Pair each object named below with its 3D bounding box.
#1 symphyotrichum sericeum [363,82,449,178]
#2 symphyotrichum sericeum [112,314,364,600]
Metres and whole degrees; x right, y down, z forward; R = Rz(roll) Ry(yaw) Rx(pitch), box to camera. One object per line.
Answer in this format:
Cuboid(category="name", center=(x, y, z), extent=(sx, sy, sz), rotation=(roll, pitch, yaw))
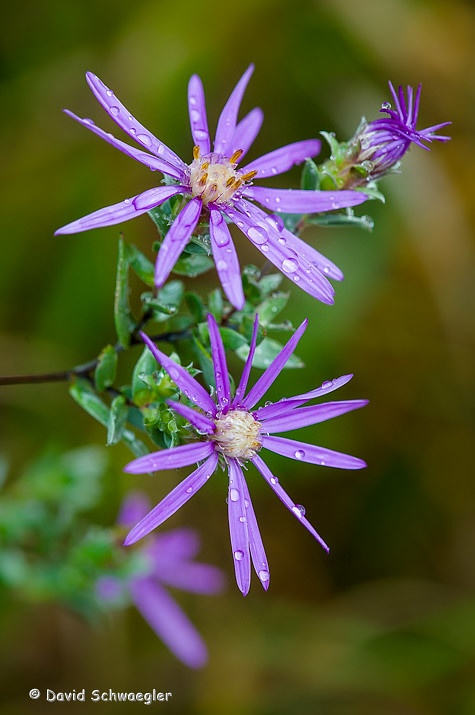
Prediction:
Cuboid(category="symphyotrichum sericeum", center=(0.362, -0.499, 1.448), extent=(0.137, 0.141, 0.150), rotation=(5, 53, 6))
Cuboid(category="symphyotrichum sericeum", center=(0.016, 0.189, 1.257), extent=(0.428, 0.432, 0.440), rotation=(17, 47, 12))
